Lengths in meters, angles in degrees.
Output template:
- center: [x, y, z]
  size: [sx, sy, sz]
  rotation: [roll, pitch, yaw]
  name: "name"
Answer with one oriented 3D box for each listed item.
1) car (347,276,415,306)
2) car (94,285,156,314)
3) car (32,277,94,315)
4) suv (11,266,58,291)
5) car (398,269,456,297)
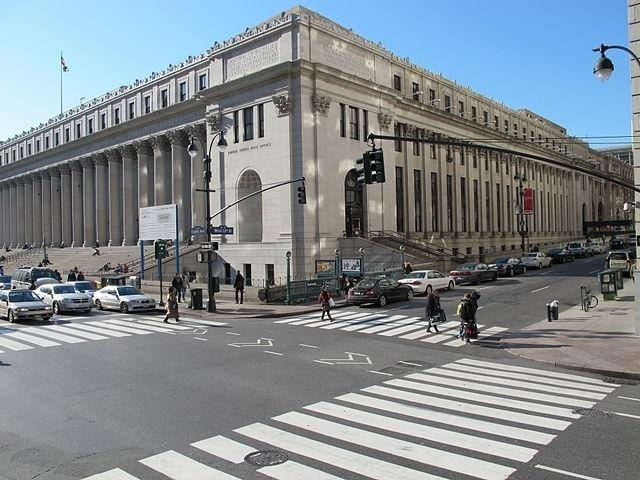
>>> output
- center: [3.525, 2.940, 37.017]
  size: [1.490, 1.117, 3.389]
  rotation: [-1, 3, 42]
  name: "car"
- center: [-11.641, 3.496, 38.208]
  size: [3.735, 1.346, 1.702]
  rotation: [-3, -3, 43]
  name: "car"
- center: [-15.477, 3.396, 38.304]
  size: [5.018, 1.772, 2.162]
  rotation: [-1, -1, 43]
  name: "car"
- center: [-20.527, 2.601, 46.196]
  size: [3.441, 1.999, 2.068]
  rotation: [-6, -4, 42]
  name: "suv"
- center: [6.764, 2.648, 40.197]
  size: [1.597, 1.505, 3.655]
  rotation: [0, 0, 41]
  name: "car"
